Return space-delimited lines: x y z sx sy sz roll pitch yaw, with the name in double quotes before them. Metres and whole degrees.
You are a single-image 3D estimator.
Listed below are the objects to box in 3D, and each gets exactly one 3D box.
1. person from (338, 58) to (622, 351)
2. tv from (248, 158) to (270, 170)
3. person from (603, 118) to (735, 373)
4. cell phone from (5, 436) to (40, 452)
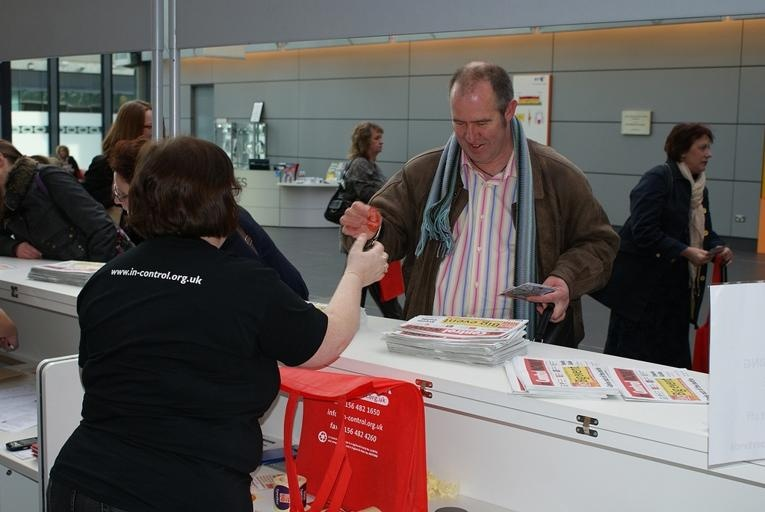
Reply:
"person" 0.504 0.150 2.846 1.163 1.954 1.008 2 11 22
"tv" -2.910 -2.145 13.797 0.546 0.304 0.387 0 2 1
"person" 1.999 0.104 4.096 0.875 1.950 0.811 7 10 35
"cell phone" -1.451 0.758 2.349 0.105 0.029 0.142 -9 13 -36
